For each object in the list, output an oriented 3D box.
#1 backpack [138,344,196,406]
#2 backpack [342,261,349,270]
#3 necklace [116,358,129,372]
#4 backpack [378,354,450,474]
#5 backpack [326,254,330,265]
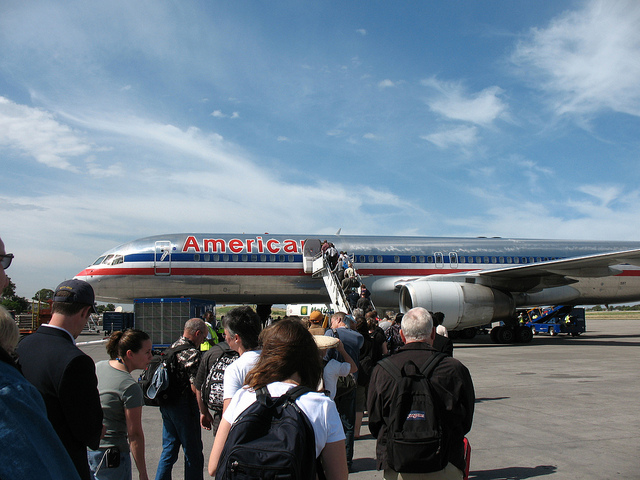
[{"bbox_3d":[-1.554,1.428,5.066,0.661,0.588,0.441,5,-23,-18],"label":"backpack"},{"bbox_3d":[0.926,0.920,17.801,0.100,0.290,0.390,-2,-7,16],"label":"backpack"},{"bbox_3d":[-1.742,1.083,4.285,0.092,0.027,0.092,42,-21,-27],"label":"necklace"},{"bbox_3d":[0.739,1.294,3.651,0.458,0.830,0.247,0,-7,0],"label":"backpack"},{"bbox_3d":[0.307,0.709,18.301,0.118,0.341,0.232,0,-7,1],"label":"backpack"}]
